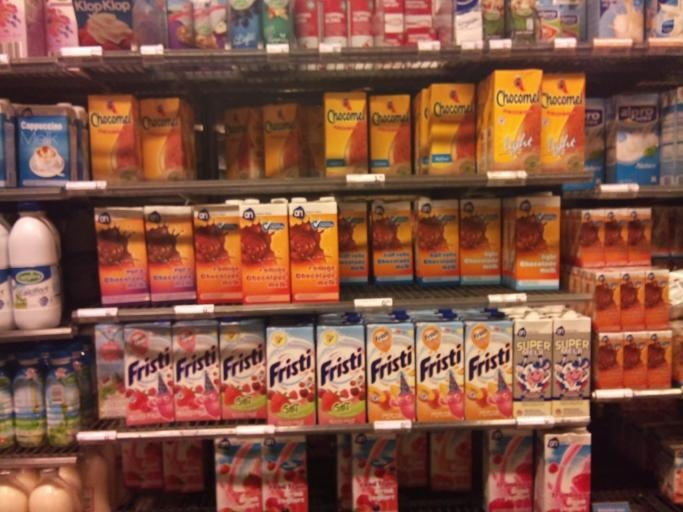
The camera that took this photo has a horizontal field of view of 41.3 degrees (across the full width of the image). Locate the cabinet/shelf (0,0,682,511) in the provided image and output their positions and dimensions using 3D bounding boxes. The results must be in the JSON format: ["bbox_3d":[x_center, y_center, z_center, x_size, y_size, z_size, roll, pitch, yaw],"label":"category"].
[{"bbox_3d":[-0.025,0.013,5.046,2.924,2.418,0.928,0,4,-1],"label":"cabinet/shelf"}]
